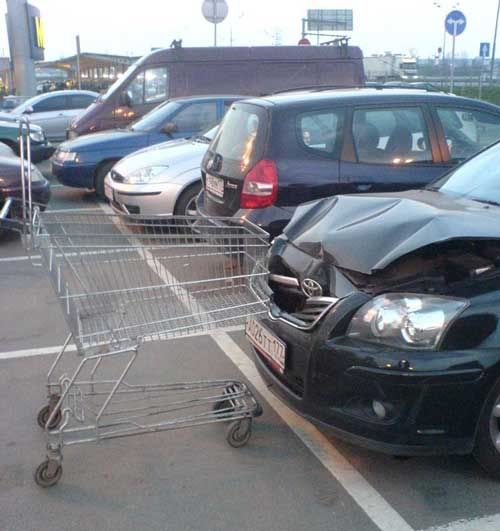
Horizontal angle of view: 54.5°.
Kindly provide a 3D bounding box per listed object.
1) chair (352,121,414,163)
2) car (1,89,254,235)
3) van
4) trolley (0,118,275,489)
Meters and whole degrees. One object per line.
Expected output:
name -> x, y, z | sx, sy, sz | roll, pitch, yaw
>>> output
chair -> 1.198, -1.090, 4.560 | 0.543, 0.362, 0.345 | 13, -2, -10
car -> -2.075, -2.132, 9.179 | 4.624, 1.588, 2.083 | -1, 14, -11
van -> -0.439, -4.173, 12.240 | 7.509, 2.359, 2.492 | 5, 22, 19
trolley -> -0.618, 0.123, 2.678 | 1.281, 1.561, 1.394 | -7, 16, -23
